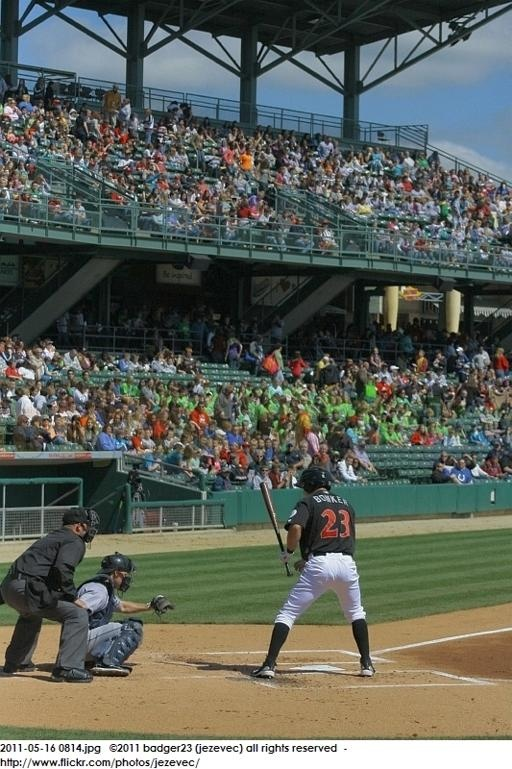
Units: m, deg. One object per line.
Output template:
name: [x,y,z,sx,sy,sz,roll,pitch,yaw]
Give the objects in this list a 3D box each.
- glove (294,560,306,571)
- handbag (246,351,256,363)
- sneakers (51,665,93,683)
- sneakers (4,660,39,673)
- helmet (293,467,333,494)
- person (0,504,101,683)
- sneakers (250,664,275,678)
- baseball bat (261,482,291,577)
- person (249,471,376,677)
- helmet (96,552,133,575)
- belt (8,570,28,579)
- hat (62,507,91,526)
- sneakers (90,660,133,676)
glove: [0.317,1.344,11.908,0.077,0.078,0.148,-34,-9,5]
handbag: [-0.169,-0.530,29.475,0.197,0.077,0.150,34,10,27]
sneakers: [-1.395,2.153,11.708,0.310,0.148,0.120,0,9,-5]
sneakers: [-1.842,2.167,11.998,0.212,0.102,0.093,-6,8,-12]
helmet: [0.421,0.740,12.076,0.211,0.219,0.176,10,2,35]
person: [-1.572,1.562,11.742,0.701,1.302,0.563,2,2,9]
sneakers: [0.024,2.158,11.842,0.172,0.134,0.224,2,2,-1]
baseball bat: [0.200,1.730,18.880,0.130,1.328,0.142,-15,-6,-1]
person: [0.439,1.442,11.864,0.719,1.598,0.830,3,3,31]
helmet: [-1.095,1.373,12.105,0.196,0.156,0.156,-3,2,-27]
belt: [-1.778,1.385,11.533,0.079,0.044,0.064,2,1,30]
hat: [-1.367,0.972,11.718,0.160,0.139,0.119,-13,17,-14]
sneakers: [-1.124,2.160,11.975,0.337,0.162,0.120,2,5,1]
